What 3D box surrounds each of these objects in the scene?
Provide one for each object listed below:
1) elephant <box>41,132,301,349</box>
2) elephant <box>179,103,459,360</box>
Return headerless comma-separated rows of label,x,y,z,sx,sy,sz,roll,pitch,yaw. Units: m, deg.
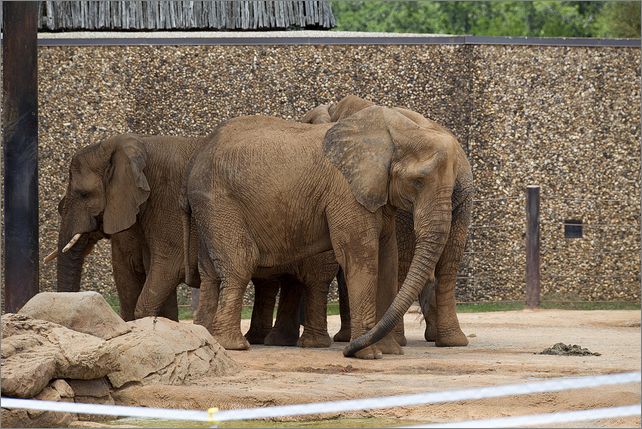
elephant,-2.026,0.364,21.653,4.314,3.015,2.035,1,-2,8
elephant,-0.161,0.235,20.622,3.800,3.054,1.686,-1,-5,-5
